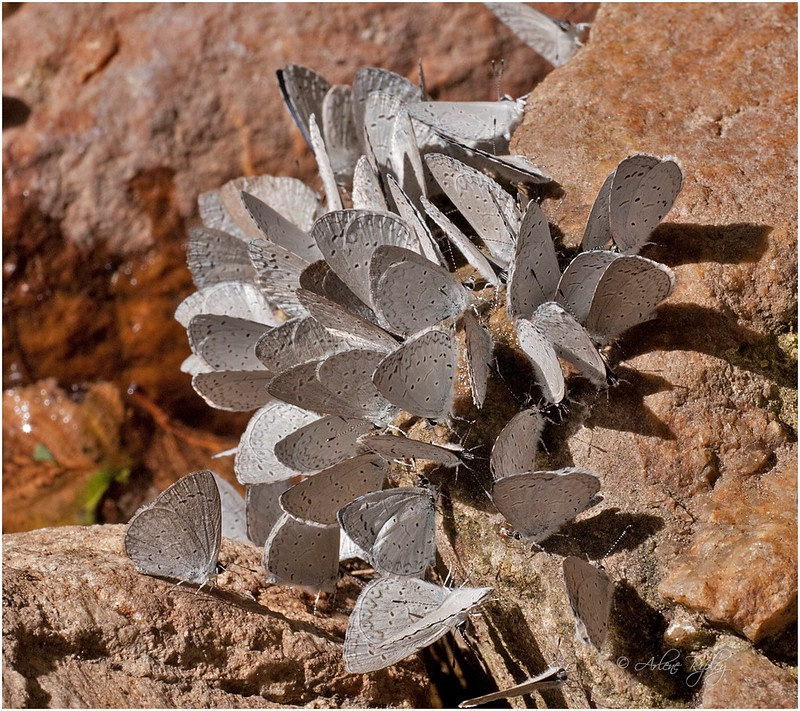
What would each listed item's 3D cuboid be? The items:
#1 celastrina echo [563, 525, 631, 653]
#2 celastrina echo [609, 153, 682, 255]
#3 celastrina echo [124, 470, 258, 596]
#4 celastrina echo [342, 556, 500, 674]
[{"bbox_3d":[0.784,0.998,5.537,0.163,0.344,0.392,-11,113,8],"label":"celastrina echo"},{"bbox_3d":[1.045,-0.680,5.807,0.336,0.492,0.320,5,103,7],"label":"celastrina echo"},{"bbox_3d":[-0.975,0.729,5.801,0.375,0.289,0.485,12,83,3],"label":"celastrina echo"},{"bbox_3d":[0.045,1.172,5.626,0.511,0.636,0.328,-8,100,-1],"label":"celastrina echo"}]
